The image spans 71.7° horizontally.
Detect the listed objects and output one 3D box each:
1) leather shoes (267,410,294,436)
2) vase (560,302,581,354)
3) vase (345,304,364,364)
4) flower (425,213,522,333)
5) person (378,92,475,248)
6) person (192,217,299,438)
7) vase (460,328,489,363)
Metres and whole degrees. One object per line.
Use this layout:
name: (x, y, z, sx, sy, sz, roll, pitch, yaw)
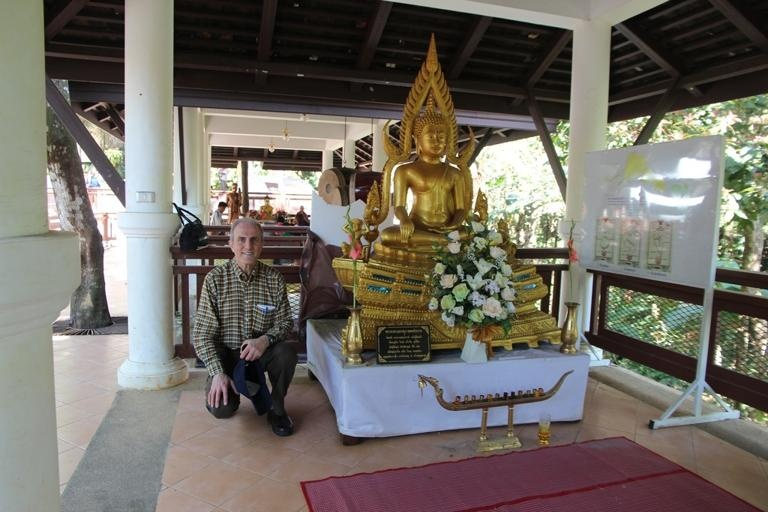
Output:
leather shoes: (-0.638, 1.028, 3.291, 0.103, 0.106, 0.175, 2, -2, -32)
vase: (1.242, 0.476, 3.548, 0.118, 0.341, 0.199, 5, 14, 19)
vase: (-0.187, 0.471, 3.271, 0.107, 0.316, 0.253, 0, 13, -3)
flower: (0.502, 0.113, 3.536, 0.642, 0.586, 0.669, -8, -1, -4)
person: (0.298, -0.593, 3.813, 0.664, 1.090, 0.507, 3, 13, 8)
person: (-0.880, 0.417, 3.382, 0.655, 1.269, 0.526, 1, 13, 0)
vase: (0.563, 0.566, 3.400, 0.178, 0.190, 0.196, -3, 2, -17)
